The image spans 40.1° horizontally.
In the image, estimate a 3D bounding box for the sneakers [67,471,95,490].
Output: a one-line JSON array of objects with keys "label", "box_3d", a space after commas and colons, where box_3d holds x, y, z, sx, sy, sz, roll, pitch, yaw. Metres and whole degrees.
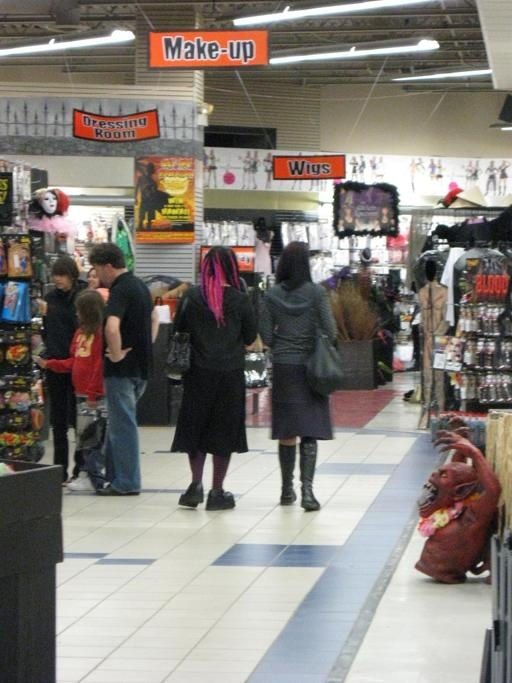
[{"label": "sneakers", "box_3d": [-1.280, 1.008, 5.064, 0.232, 0.119, 0.102, 2, -2, 9]}]

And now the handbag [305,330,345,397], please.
[{"label": "handbag", "box_3d": [0.412, 0.130, 4.308, 0.213, 0.383, 0.212, -1, -3, 3]}]

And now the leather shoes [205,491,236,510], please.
[{"label": "leather shoes", "box_3d": [-0.220, 1.001, 4.451, 0.196, 0.115, 0.099, -3, 4, -13]}]

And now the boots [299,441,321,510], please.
[{"label": "boots", "box_3d": [0.332, 0.837, 4.422, 0.116, 0.435, 0.272, -2, -3, 4]}]
